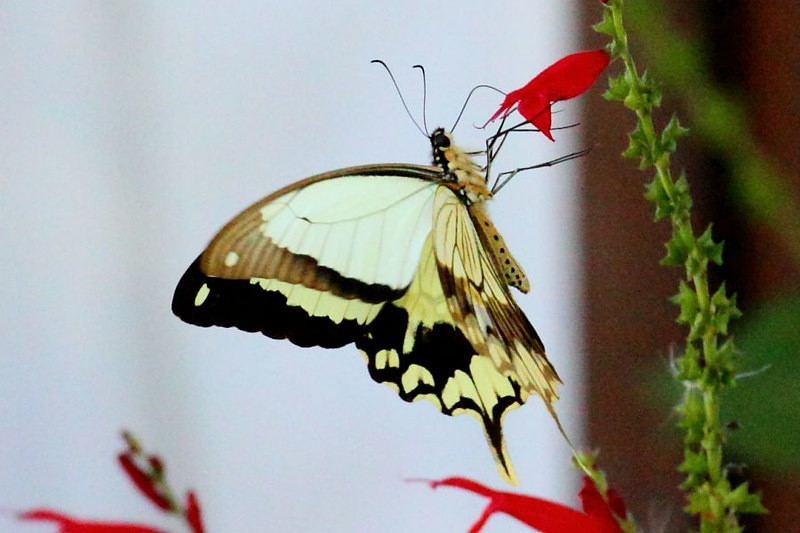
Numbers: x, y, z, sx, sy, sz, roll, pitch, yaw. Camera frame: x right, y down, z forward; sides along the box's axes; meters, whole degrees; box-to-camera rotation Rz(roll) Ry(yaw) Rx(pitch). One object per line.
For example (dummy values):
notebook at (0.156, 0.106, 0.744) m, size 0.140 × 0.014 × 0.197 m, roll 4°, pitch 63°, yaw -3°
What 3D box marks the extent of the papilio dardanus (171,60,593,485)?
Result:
papilio dardanus at (0.008, -0.007, 1.831) m, size 0.469 × 0.597 × 0.524 m, roll -7°, pitch -5°, yaw 8°
